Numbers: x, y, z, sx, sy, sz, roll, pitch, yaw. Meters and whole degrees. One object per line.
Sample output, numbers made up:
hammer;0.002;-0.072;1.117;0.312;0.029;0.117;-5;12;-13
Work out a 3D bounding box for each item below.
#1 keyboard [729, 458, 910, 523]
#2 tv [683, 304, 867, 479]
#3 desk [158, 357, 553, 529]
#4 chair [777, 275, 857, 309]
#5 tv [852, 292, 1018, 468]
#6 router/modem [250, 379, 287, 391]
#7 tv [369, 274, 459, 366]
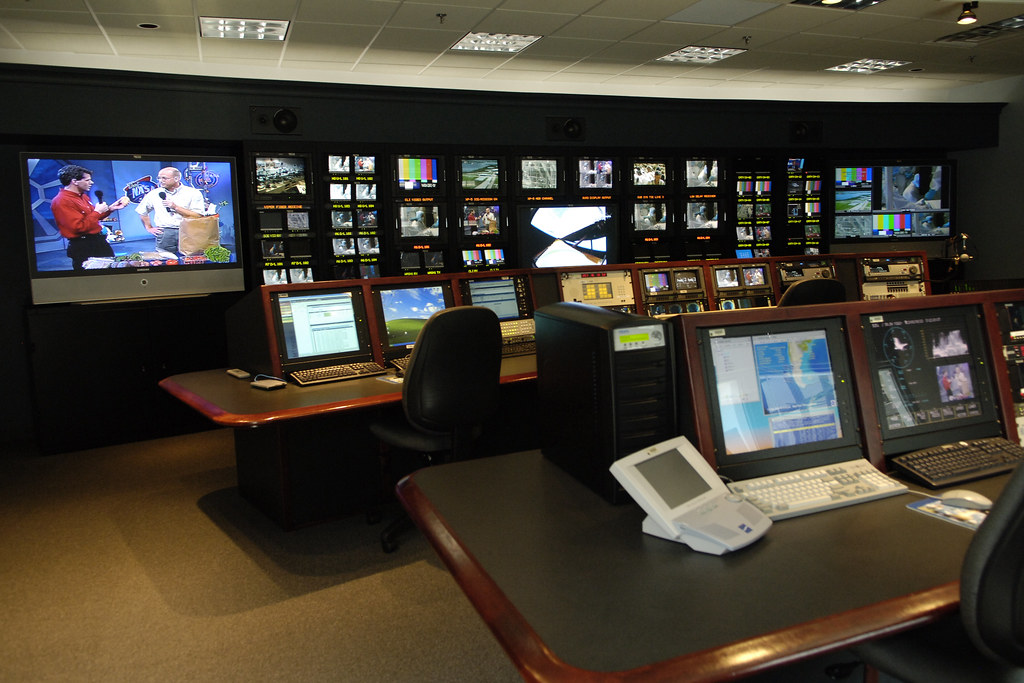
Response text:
keyboard;0.987;0.474;2.227;0.413;0.036;0.163;-8;26;-20
tv;0.866;0.186;2.309;0.632;0.483;0.215;-1;-5;-18
desk;-1.123;0.559;3.801;2.130;0.624;1.037;-9;17;-35
chair;1.899;-0.318;4.357;0.328;0.334;0.297;-6;16;-20
tv;1.496;0.155;2.461;0.674;0.530;0.083;-2;-6;-18
router/modem;-1.275;0.219;3.588;0.200;0.038;0.133;-1;12;16
tv;-0.566;-0.104;3.827;0.581;0.447;0.073;-2;-5;-23
